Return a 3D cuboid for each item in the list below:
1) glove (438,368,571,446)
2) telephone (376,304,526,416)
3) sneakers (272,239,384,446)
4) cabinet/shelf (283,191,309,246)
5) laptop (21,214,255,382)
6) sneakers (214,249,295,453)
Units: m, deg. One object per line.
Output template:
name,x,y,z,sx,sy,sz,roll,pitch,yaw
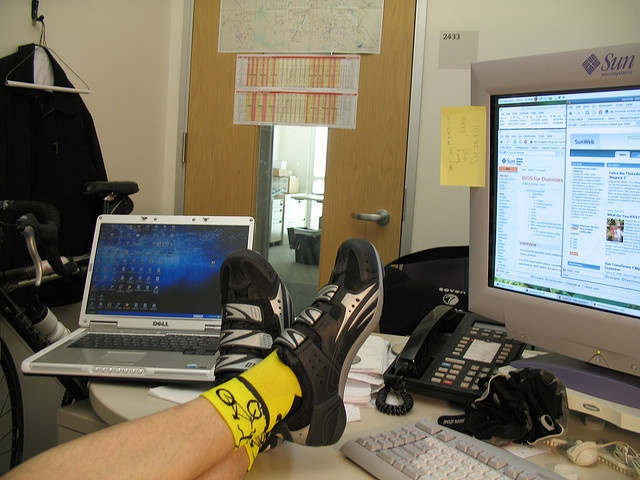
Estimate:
glove,0.325,0.288,0.830,0.168,0.090,0.134,1,12,16
telephone,0.270,0.234,0.972,0.177,0.070,0.251,4,32,43
sneakers,-0.002,0.147,0.914,0.127,0.417,0.162,4,-17,37
cabinet/shelf,-0.119,-0.110,2.421,0.133,0.210,0.134,-8,13,-28
laptop,-0.367,0.115,1.041,0.392,0.272,0.361,3,9,8
sneakers,-0.142,0.191,0.926,0.114,0.372,0.153,-15,-14,24
